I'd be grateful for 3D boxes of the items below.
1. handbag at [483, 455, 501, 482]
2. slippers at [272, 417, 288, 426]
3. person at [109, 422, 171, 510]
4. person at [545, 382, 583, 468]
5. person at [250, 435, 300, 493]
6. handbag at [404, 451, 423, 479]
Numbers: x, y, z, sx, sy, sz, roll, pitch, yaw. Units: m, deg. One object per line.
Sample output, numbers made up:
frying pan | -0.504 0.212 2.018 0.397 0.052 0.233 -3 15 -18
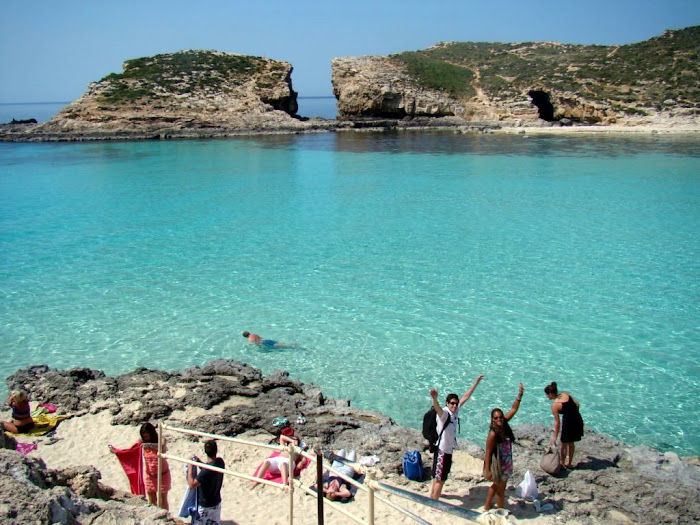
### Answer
handbag | 2.942 4.211 11.686 0.390 0.617 0.154 4 19 21
slippers | -1.756 4.033 14.353 0.311 0.137 0.383 6 14 29
person | -4.187 4.145 11.700 1.376 1.913 0.554 13 24 43
person | 4.839 3.624 12.882 0.813 2.117 1.163 4 18 19
person | -1.947 4.523 12.578 0.622 0.588 1.184 -14 26 -15
handbag | 1.466 4.665 13.042 0.455 0.529 0.519 -1 15 5
